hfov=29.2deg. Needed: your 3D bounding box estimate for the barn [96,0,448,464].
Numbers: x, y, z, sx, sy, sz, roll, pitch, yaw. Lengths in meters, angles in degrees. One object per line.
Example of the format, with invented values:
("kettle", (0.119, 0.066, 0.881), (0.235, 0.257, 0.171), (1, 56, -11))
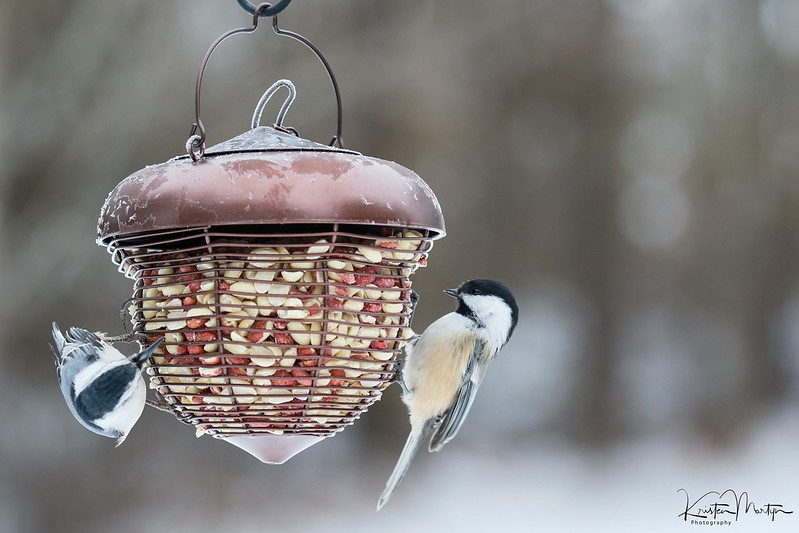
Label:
("barn", (-0.409, 0.059, 7.938), (1.721, 2.895, 2.062), (-2, -5, 23))
